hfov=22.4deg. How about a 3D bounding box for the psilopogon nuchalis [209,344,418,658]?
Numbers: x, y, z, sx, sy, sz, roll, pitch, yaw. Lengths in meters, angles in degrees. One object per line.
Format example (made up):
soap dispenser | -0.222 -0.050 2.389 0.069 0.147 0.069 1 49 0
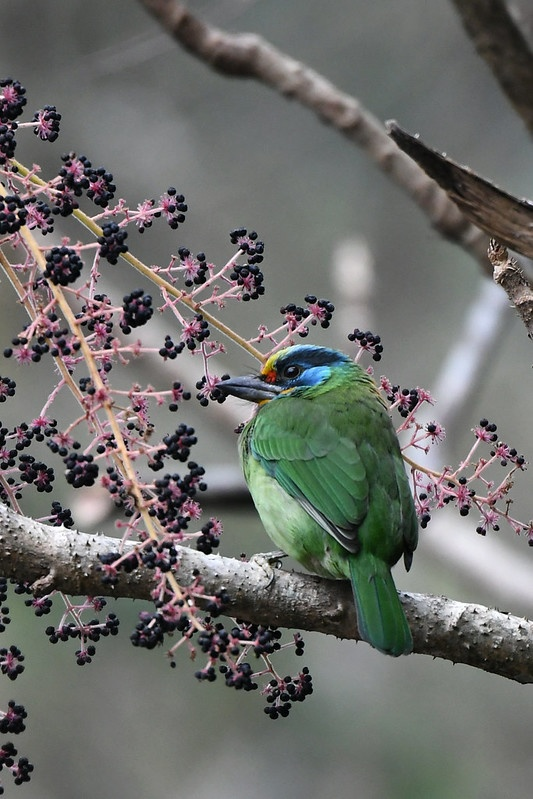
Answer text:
psilopogon nuchalis | 0.192 0.241 4.031 0.442 0.848 0.901 24 -11 -35
